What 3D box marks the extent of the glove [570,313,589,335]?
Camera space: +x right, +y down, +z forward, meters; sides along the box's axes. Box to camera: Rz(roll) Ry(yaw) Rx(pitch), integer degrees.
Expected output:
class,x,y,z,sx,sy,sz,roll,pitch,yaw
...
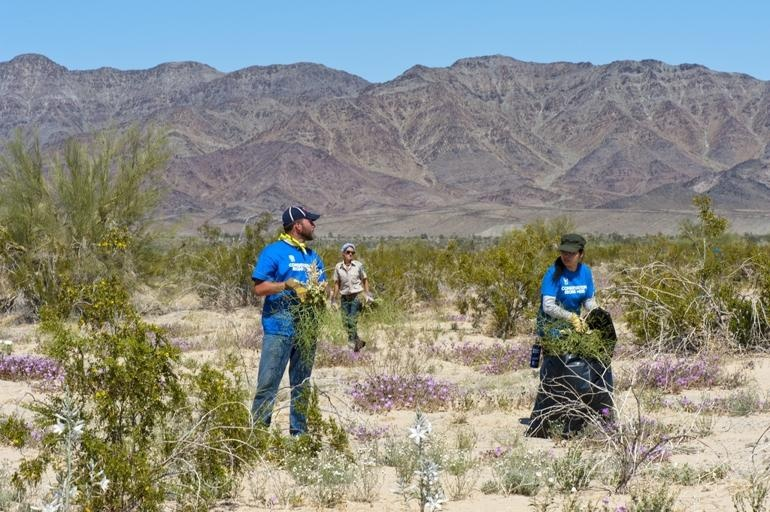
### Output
class,x,y,z,sx,sy,sz,roll,pitch,yaw
glove,3.584,1.245,18.810,0.223,0.374,0.151,-24,-3,-28

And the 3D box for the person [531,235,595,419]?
class,x,y,z,sx,sy,sz,roll,pitch,yaw
person,3.345,1.214,19.077,1.187,3.307,0.651,-1,-2,8

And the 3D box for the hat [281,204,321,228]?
class,x,y,z,sx,sy,sz,roll,pitch,yaw
hat,-1.532,-0.702,18.616,0.542,0.327,0.371,-5,10,-8

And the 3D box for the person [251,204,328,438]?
class,x,y,z,sx,sy,sz,roll,pitch,yaw
person,-1.751,1.140,18.353,1.224,4.116,0.920,0,-2,-9

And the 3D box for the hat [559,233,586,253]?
class,x,y,z,sx,sy,sz,roll,pitch,yaw
hat,3.522,-0.249,18.945,0.293,0.255,0.447,2,0,36
